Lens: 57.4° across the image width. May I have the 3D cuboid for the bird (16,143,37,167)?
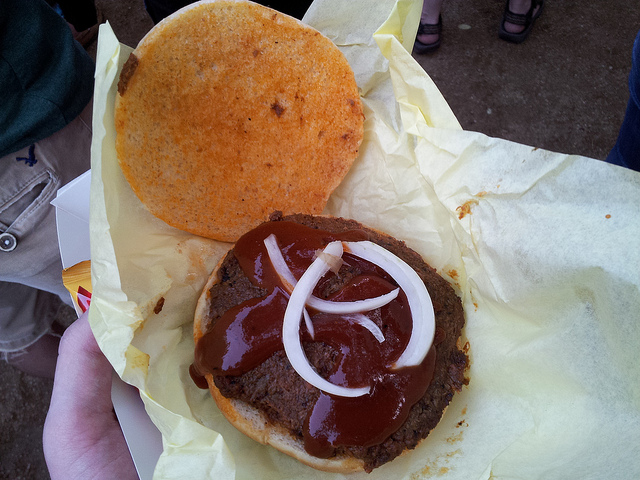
[{"bbox_3d":[-1.255,-0.365,2.518,0.043,0.081,0.084,17,91,25],"label":"bird"}]

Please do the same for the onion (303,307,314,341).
[{"bbox_3d":[-0.038,0.309,2.196,0.025,0.019,0.141,-20,75,21],"label":"onion"}]
